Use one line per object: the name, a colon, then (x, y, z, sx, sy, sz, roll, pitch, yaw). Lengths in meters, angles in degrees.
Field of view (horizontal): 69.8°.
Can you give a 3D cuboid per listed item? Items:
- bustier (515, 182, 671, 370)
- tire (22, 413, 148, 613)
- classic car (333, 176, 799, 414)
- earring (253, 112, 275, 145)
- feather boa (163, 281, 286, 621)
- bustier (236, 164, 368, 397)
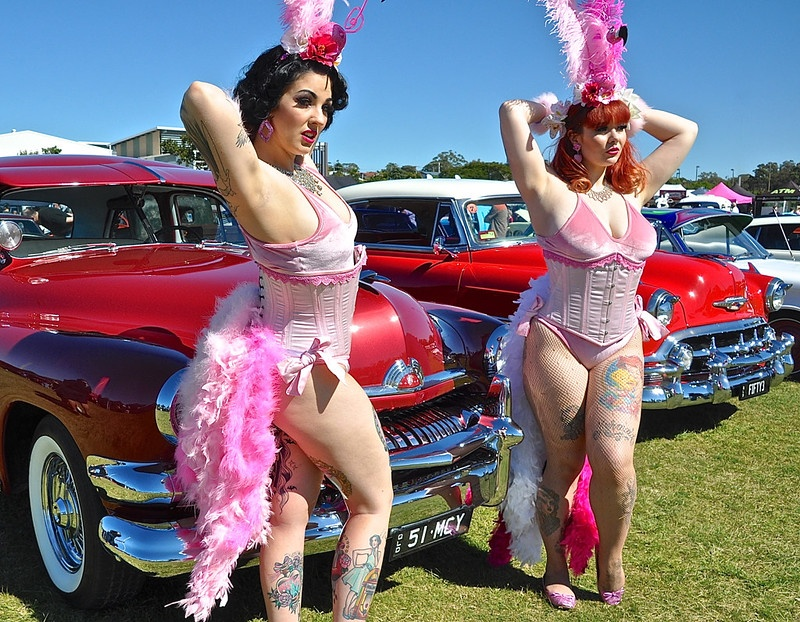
bustier: (0.830, -0.132, 2.575, 0.590, 0.764, 0.259, 4, 10, 11)
tire: (-1.278, 0.841, 2.336, 0.261, 0.851, 0.753, -11, 16, -42)
classic car: (1.430, -0.019, 5.500, 3.748, 1.786, 2.224, 7, 9, 36)
earring: (-0.439, -0.589, 1.807, 0.054, 0.067, 0.013, 7, 6, 6)
feather boa: (-0.566, 0.463, 1.886, 0.329, 1.039, 0.333, -3, 11, -24)
bustier: (-0.297, -0.075, 1.825, 0.371, 0.639, 0.308, 0, 10, -7)
